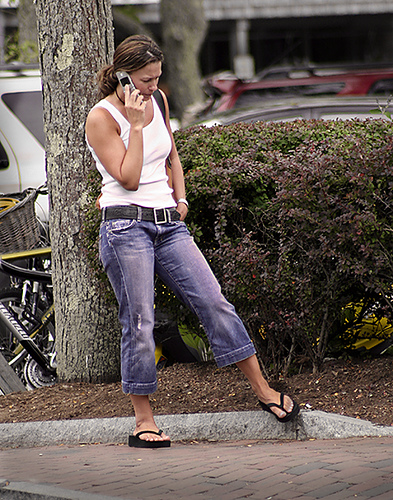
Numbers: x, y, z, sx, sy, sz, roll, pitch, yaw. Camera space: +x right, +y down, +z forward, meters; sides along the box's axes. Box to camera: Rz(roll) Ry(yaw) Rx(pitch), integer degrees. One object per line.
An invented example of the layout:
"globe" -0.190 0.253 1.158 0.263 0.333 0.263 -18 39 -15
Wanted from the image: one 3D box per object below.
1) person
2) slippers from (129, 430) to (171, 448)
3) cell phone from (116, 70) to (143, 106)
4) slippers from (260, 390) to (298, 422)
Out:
"person" -0.137 -0.043 3.410 0.752 2.008 0.495 -7 -1 -21
"slippers" -0.254 0.983 3.364 0.176 0.058 0.102 -8 -9 43
"cell phone" -0.341 -0.820 3.200 0.071 0.125 0.031 -14 6 21
"slippers" 0.419 0.811 3.464 0.112 0.072 0.212 -35 42 -25
